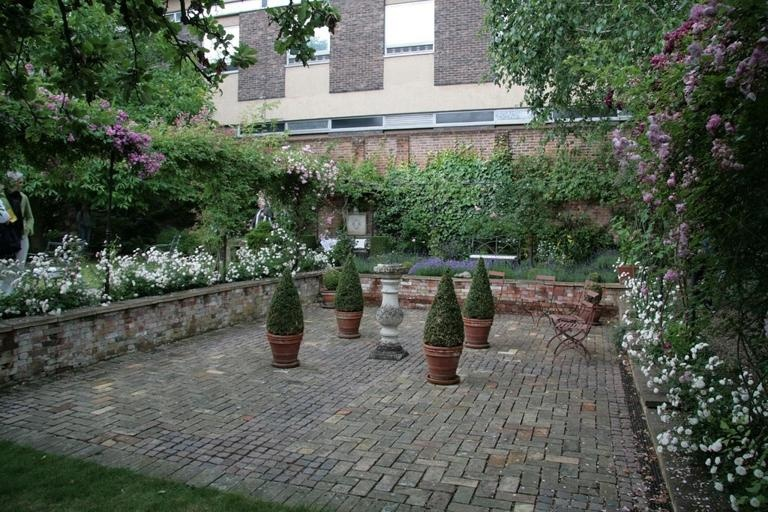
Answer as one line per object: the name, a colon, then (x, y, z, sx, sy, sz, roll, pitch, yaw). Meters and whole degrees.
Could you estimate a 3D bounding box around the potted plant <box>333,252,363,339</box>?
potted plant: (-0.629, 0.714, 9.104, 0.447, 1.477, 0.389, 0, 10, -5)

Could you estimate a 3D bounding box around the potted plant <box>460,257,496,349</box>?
potted plant: (1.584, 0.771, 8.605, 0.487, 1.472, 0.499, 2, 10, 8)

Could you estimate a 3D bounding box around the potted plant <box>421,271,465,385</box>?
potted plant: (0.795, 0.994, 6.857, 0.547, 1.383, 0.462, -3, 10, -20)

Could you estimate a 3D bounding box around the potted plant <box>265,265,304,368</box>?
potted plant: (-1.451, 0.899, 7.430, 0.495, 1.407, 0.415, -1, 10, -10)

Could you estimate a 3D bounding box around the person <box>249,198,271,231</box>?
person: (-3.009, -1.098, 12.671, 0.395, 0.657, 1.938, -1, 9, -12)
